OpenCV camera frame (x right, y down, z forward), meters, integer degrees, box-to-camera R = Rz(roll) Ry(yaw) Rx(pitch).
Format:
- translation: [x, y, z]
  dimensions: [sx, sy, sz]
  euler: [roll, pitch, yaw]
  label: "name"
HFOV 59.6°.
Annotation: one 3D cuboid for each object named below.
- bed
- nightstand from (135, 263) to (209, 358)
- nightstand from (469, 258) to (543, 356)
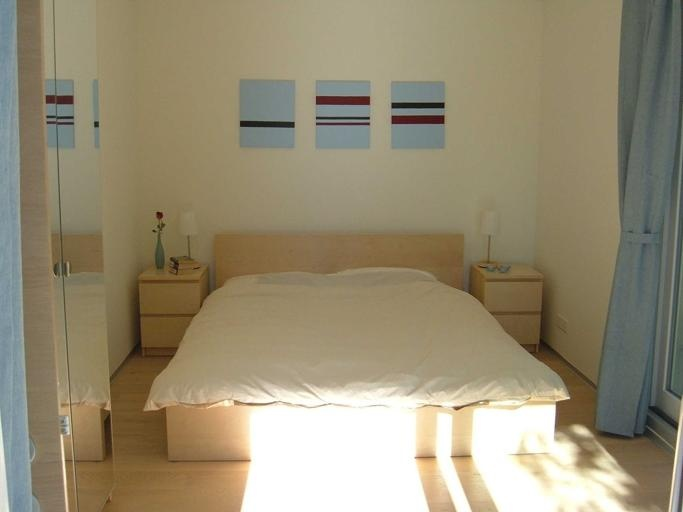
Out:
- translation: [0.131, 0.459, 4.068]
  dimensions: [2.533, 0.924, 1.980]
  euler: [-1, 11, -1]
  label: "bed"
- translation: [-1.206, 0.419, 4.850]
  dimensions: [0.562, 0.860, 0.567]
  euler: [0, 4, -4]
  label: "nightstand"
- translation: [1.357, 0.372, 4.939]
  dimensions: [0.441, 0.675, 0.664]
  euler: [-1, 10, 1]
  label: "nightstand"
